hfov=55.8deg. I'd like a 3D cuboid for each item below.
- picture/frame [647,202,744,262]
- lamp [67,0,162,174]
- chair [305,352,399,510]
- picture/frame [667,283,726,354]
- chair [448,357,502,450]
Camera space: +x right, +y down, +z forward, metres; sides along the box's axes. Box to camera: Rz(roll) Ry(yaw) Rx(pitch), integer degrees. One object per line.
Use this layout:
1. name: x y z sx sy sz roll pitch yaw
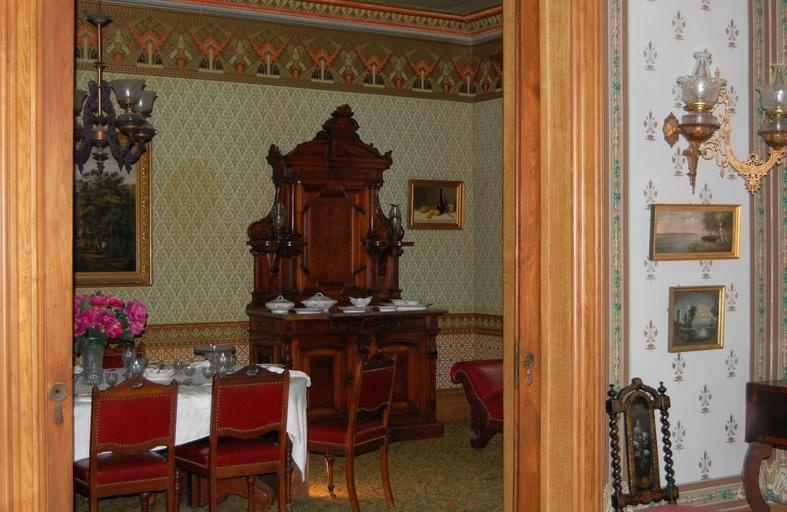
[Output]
1. picture/frame: 1.923 -0.158 4.727 0.718 0.365 0.029 -3 1 -21
2. lamp: -2.756 -1.763 7.284 0.821 1.417 2.858 -3 1 -20
3. chair: -0.380 1.573 6.944 0.790 0.975 1.273 -2 1 -3
4. picture/frame: 1.909 0.386 4.726 0.433 0.431 0.032 0 4 -30
5. chair: 0.975 1.590 8.106 0.669 0.718 0.918 -1 -1 -21
